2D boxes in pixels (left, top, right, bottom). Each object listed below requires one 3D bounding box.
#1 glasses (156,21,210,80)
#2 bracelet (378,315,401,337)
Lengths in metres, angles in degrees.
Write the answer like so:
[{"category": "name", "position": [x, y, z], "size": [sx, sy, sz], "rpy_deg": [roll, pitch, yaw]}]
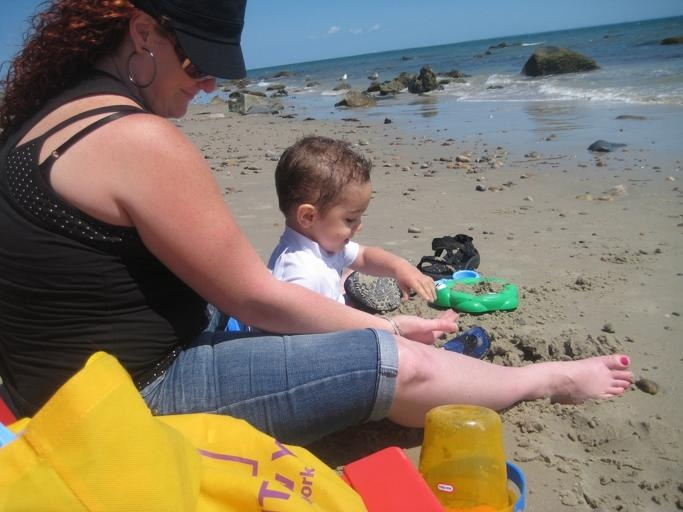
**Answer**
[{"category": "glasses", "position": [-0.510, -0.734, 1.928], "size": [0.215, 0.136, 0.185], "rpy_deg": [-1, 13, -3]}, {"category": "bracelet", "position": [0.218, 0.302, 2.325], "size": [0.034, 0.092, 0.064], "rpy_deg": [-51, 15, 15]}]
